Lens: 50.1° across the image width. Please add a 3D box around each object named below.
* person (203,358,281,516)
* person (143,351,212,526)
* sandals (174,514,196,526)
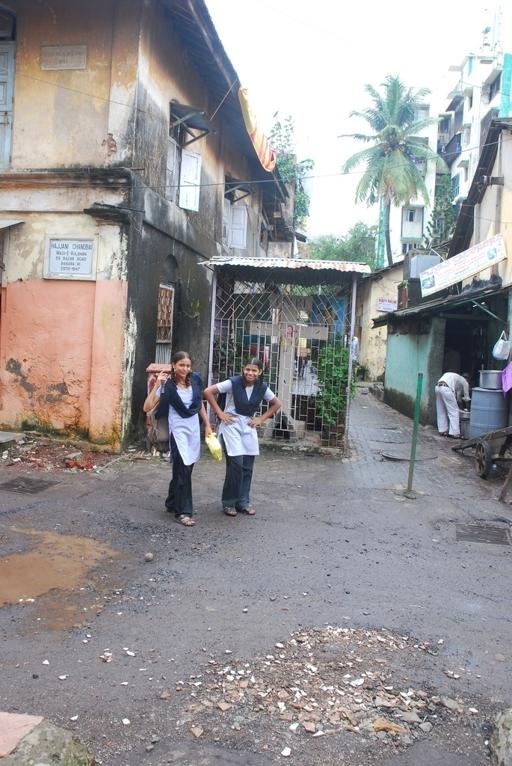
[{"bbox_3d":[-0.165,0.557,5.665,0.728,1.618,0.428,3,2,2],"label":"person"},{"bbox_3d":[-0.768,0.519,5.274,0.663,1.622,0.467,2,2,-20],"label":"person"},{"bbox_3d":[-0.655,1.296,5.189,0.073,0.077,0.178,1,-6,-28],"label":"sandals"}]
